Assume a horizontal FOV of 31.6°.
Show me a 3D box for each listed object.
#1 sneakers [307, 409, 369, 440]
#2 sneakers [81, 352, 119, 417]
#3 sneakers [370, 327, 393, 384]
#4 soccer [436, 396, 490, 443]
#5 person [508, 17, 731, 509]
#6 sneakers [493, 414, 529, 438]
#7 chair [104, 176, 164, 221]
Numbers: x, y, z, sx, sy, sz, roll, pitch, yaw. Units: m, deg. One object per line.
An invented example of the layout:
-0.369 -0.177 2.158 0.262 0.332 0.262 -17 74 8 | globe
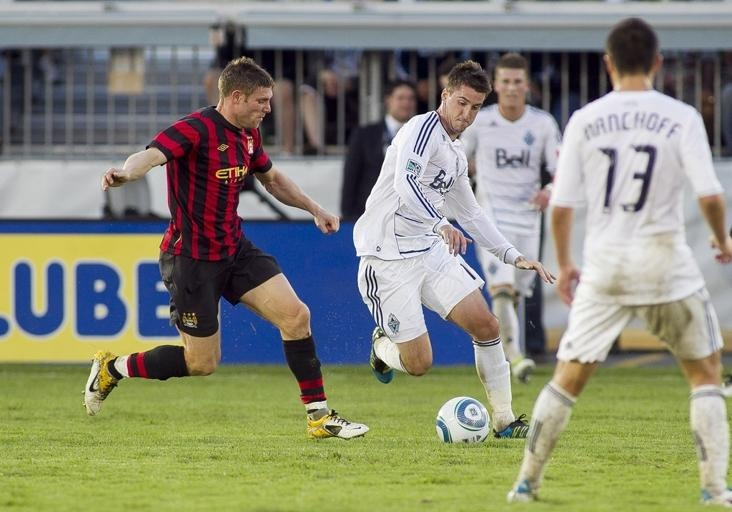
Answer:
-0.236 1.281 9.854 0.501 0.268 0.188 -1 0 8 | sneakers
-2.060 0.962 10.166 0.264 0.578 0.197 8 4 8 | sneakers
0.113 0.848 10.588 0.163 0.502 0.202 -18 28 -36 | sneakers
0.783 1.286 9.786 0.363 0.314 0.403 4 43 -4 | soccer
1.739 0.023 8.472 1.335 3.135 0.719 1 8 7 | person
1.060 1.301 9.838 0.331 0.153 0.122 -10 0 16 | sneakers
-2.307 -0.574 12.738 0.446 0.464 0.241 -1 4 -3 | chair
